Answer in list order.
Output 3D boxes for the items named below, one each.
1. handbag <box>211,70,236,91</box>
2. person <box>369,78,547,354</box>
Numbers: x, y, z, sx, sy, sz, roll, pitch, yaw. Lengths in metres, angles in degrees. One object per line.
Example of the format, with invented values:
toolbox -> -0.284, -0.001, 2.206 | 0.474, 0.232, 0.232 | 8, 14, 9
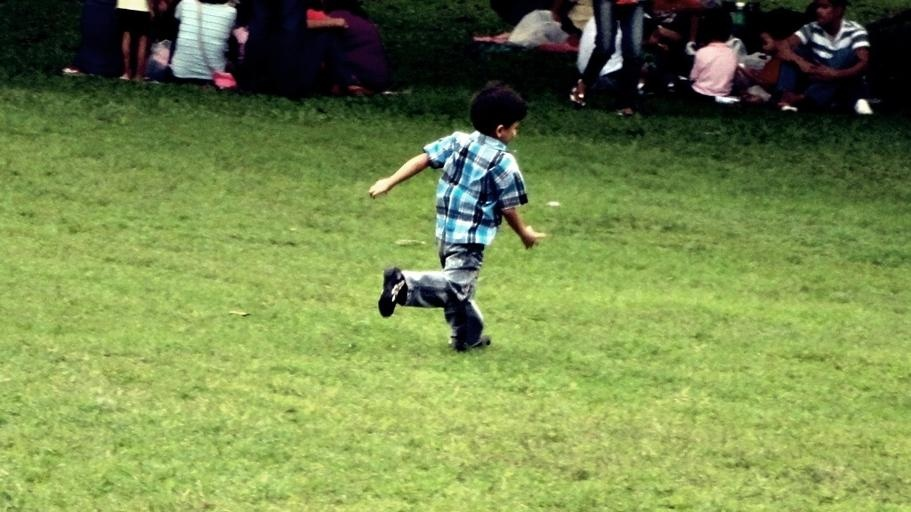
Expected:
handbag -> -2.300, -1.770, 15.228 | 0.251, 0.170, 0.090 | 9, -15, 14
person -> 0.072, -0.305, 11.997 | 1.213, 2.155, 0.429 | 6, 12, -8
